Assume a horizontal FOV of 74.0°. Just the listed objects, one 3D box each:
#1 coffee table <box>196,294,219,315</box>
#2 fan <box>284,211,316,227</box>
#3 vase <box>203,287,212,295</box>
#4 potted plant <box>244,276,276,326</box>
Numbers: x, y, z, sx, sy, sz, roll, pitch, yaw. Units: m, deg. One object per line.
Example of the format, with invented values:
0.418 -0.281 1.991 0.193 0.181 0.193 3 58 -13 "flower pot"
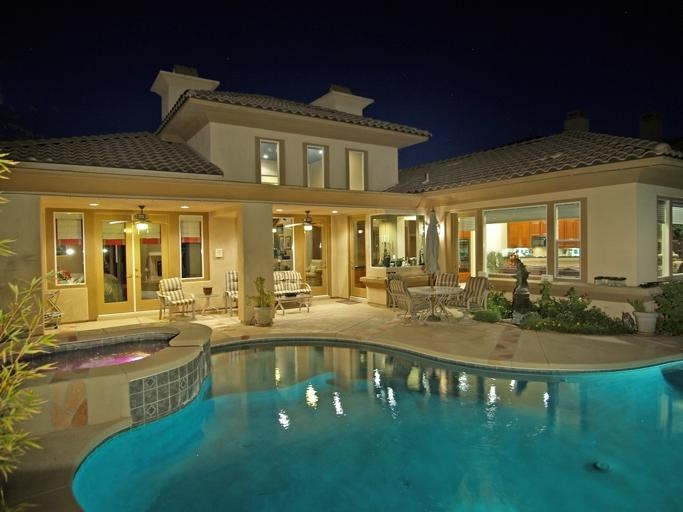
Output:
-4.859 1.775 16.316 0.744 0.545 0.741 -1 2 -9 "coffee table"
-1.564 -1.322 17.859 0.794 0.328 0.856 -2 -5 40 "fan"
-4.548 1.205 15.339 0.256 0.197 0.249 0 -1 -5 "vase"
-2.516 1.436 14.085 0.880 1.542 0.822 -6 14 -13 "potted plant"
